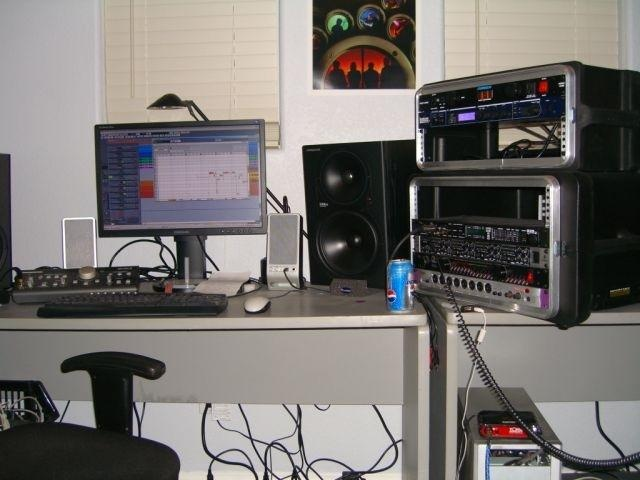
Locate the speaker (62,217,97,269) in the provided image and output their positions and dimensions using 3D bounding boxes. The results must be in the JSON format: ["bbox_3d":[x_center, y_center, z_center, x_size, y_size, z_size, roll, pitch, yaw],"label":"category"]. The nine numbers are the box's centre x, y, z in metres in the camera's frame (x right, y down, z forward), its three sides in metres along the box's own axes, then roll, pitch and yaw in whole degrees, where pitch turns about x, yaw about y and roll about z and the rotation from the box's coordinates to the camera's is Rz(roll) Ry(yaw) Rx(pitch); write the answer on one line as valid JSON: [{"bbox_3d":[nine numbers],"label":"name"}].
[{"bbox_3d":[-0.949,0.011,2.515,0.133,0.192,0.164,-4,5,-20],"label":"speaker"}]

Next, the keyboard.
[{"bbox_3d":[-0.648,0.227,2.239,0.637,0.075,0.153,-2,5,1],"label":"keyboard"}]

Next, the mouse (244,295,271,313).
[{"bbox_3d":[-0.219,0.225,2.220,0.091,0.052,0.067,-3,5,-12],"label":"mouse"}]

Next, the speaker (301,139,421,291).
[{"bbox_3d":[0.158,-0.101,2.501,0.448,0.568,0.199,-1,5,11],"label":"speaker"}]
